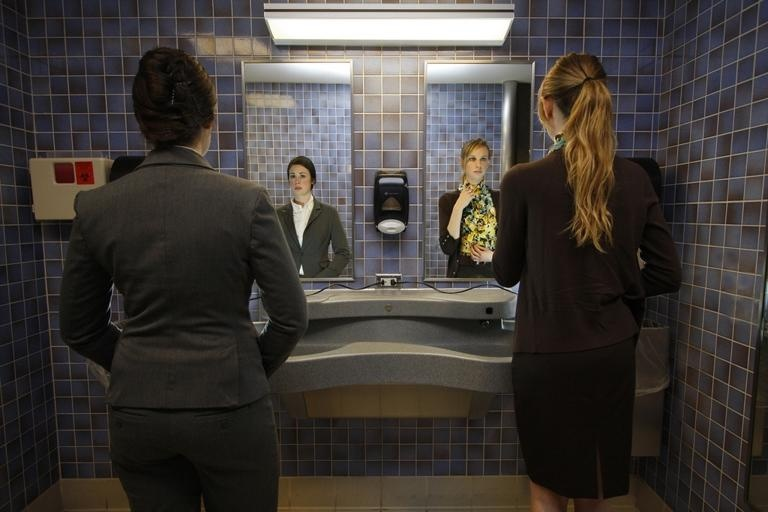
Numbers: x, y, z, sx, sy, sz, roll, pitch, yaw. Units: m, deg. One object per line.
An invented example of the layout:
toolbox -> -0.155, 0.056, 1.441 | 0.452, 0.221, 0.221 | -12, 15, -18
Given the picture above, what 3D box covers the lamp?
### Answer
lamp -> 0.033, -1.333, 4.082 | 1.399, 0.225, 0.278 | -1, 8, 1
